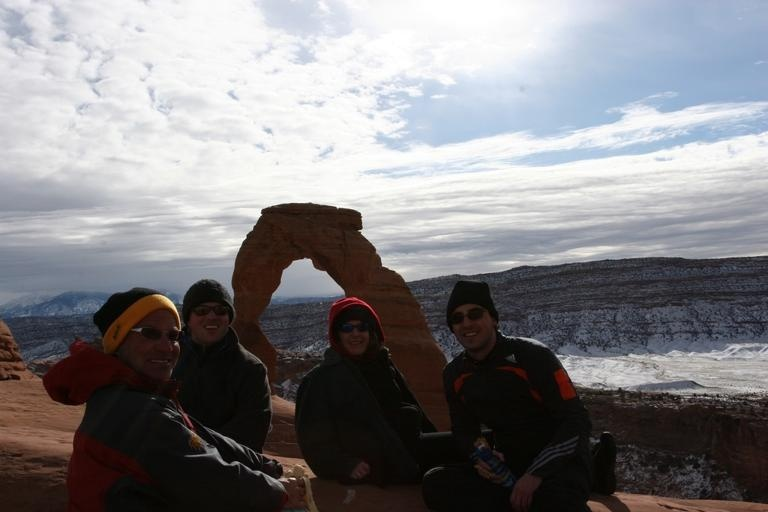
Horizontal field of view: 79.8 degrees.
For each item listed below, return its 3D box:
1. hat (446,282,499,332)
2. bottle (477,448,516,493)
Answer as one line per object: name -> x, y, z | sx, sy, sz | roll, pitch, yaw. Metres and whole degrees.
hat -> 0.803, 0.454, 4.467 | 0.586, 0.379, 0.492 | -2, -13, 5
bottle -> 0.952, 1.806, 3.970 | 0.343, 0.352, 0.170 | -2, -4, 13
